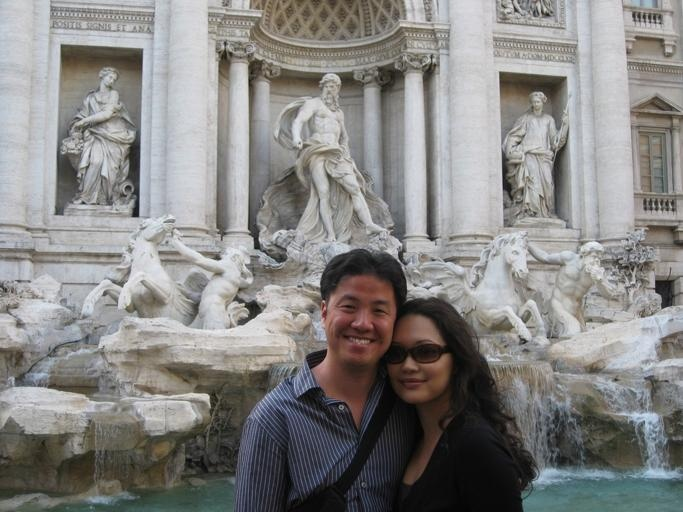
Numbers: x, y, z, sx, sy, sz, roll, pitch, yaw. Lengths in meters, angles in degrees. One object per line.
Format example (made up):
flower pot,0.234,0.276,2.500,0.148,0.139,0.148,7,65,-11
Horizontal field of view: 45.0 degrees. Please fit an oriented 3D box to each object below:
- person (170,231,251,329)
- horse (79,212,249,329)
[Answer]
person,-2.410,0.499,14.837,1.059,0.700,1.461,23,35,-4
horse,-2.722,0.124,14.390,2.044,1.431,2.489,-2,-18,34
